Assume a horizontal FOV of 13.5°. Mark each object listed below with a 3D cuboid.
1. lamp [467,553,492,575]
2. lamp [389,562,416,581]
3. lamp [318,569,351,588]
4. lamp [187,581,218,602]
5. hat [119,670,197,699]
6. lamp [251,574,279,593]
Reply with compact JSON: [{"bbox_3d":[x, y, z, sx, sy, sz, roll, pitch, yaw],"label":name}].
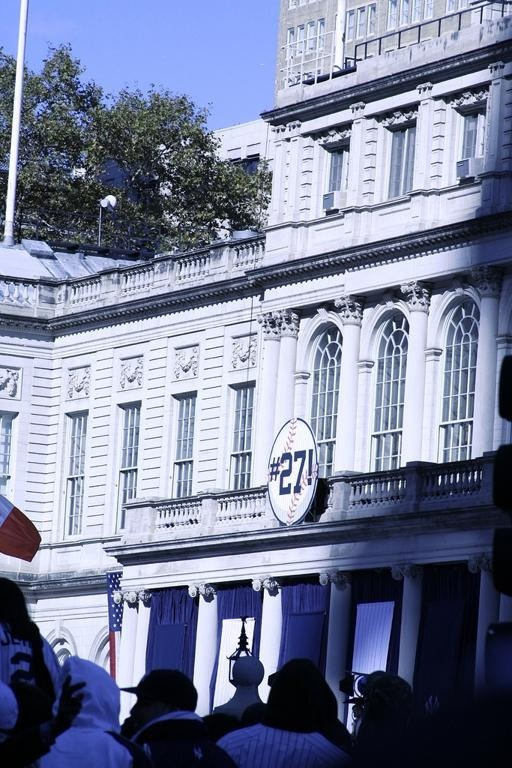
[{"bbox_3d":[2.718,2.211,26.386,0.215,0.215,0.470,8,-11,-13],"label":"lamp"},{"bbox_3d":[1.856,2.402,27.423,0.200,0.195,0.417,10,-12,-20],"label":"lamp"},{"bbox_3d":[1.024,2.632,28.709,0.243,0.199,0.485,13,-13,-33],"label":"lamp"},{"bbox_3d":[-0.825,3.062,31.324,0.472,0.250,0.221,-2,-13,37],"label":"lamp"},{"bbox_3d":[-0.425,1.317,9.386,0.224,0.118,0.170,0,-16,5],"label":"hat"},{"bbox_3d":[0.127,2.805,29.942,0.268,0.165,0.239,0,-4,33],"label":"lamp"}]
